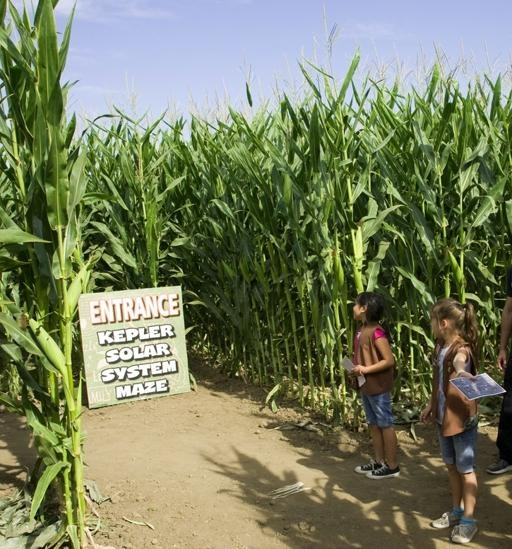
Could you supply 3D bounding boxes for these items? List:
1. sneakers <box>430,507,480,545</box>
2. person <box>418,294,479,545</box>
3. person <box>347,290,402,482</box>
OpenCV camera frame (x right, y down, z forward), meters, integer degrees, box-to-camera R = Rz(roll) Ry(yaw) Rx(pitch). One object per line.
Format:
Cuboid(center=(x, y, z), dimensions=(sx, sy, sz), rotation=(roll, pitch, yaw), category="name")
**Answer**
Cuboid(center=(0.926, 1.158, 2.254), dimensions=(0.159, 0.071, 0.127), rotation=(16, -16, -37), category="sneakers")
Cuboid(center=(0.913, 0.669, 2.221), dimensions=(0.258, 1.101, 0.408), rotation=(0, 2, 10), category="person")
Cuboid(center=(0.710, 0.668, 2.928), dimensions=(0.286, 1.125, 0.307), rotation=(0, 2, 18), category="person")
